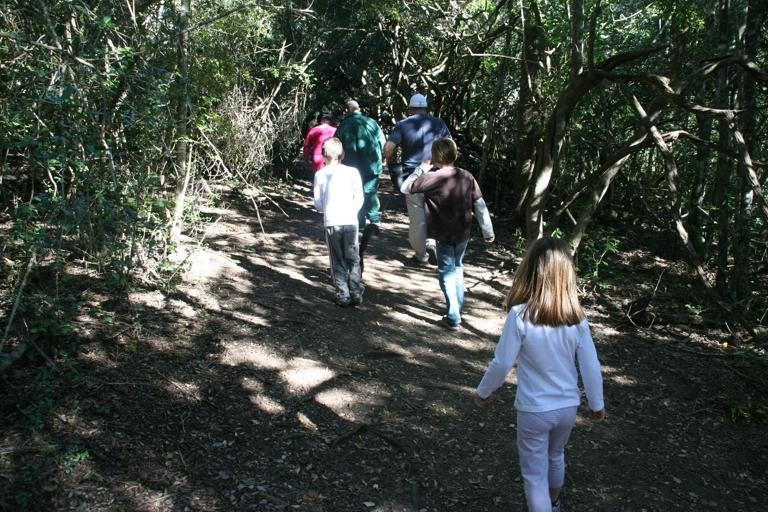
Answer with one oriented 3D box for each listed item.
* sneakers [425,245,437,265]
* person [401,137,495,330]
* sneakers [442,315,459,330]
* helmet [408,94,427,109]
[{"bbox_3d":[0.767,-0.046,10.284,0.119,0.346,0.146,-3,17,-7],"label":"sneakers"},{"bbox_3d":[0.764,-0.240,7.832,1.006,2.353,0.447,4,10,-18],"label":"person"},{"bbox_3d":[0.858,0.853,8.206,0.122,0.114,0.257,-4,23,-17],"label":"sneakers"},{"bbox_3d":[0.504,-2.252,9.325,0.211,0.161,0.300,-1,30,0],"label":"helmet"}]
